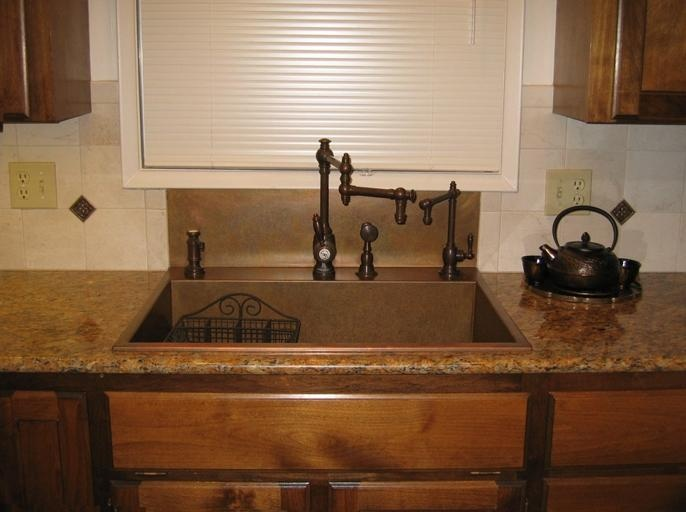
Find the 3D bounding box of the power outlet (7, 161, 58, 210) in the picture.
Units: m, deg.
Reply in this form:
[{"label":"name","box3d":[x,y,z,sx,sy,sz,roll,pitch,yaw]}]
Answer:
[{"label":"power outlet","box3d":[-1.078,-0.254,2.344,0.179,0.176,0.019,2,7,-8]}]

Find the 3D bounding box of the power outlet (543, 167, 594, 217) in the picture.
[{"label":"power outlet","box3d":[0.790,-0.236,2.383,0.203,0.185,0.018,-1,8,-4]}]

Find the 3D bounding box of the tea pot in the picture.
[{"label":"tea pot","box3d":[0.745,-0.042,2.265,0.301,0.294,0.269,4,7,16]}]

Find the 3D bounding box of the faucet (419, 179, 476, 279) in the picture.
[{"label":"faucet","box3d":[0.361,-0.089,2.312,0.175,0.329,0.268,0,10,11]}]

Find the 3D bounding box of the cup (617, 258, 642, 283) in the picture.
[{"label":"cup","box3d":[0.951,0.045,2.239,0.089,0.065,0.082,2,-1,0]}]

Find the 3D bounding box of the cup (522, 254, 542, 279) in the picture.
[{"label":"cup","box3d":[0.627,0.041,2.281,0.074,0.058,0.075,1,2,0]}]

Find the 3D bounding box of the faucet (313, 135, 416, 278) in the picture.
[{"label":"faucet","box3d":[0.062,-0.156,2.259,0.358,0.471,0.271,0,10,7]}]
